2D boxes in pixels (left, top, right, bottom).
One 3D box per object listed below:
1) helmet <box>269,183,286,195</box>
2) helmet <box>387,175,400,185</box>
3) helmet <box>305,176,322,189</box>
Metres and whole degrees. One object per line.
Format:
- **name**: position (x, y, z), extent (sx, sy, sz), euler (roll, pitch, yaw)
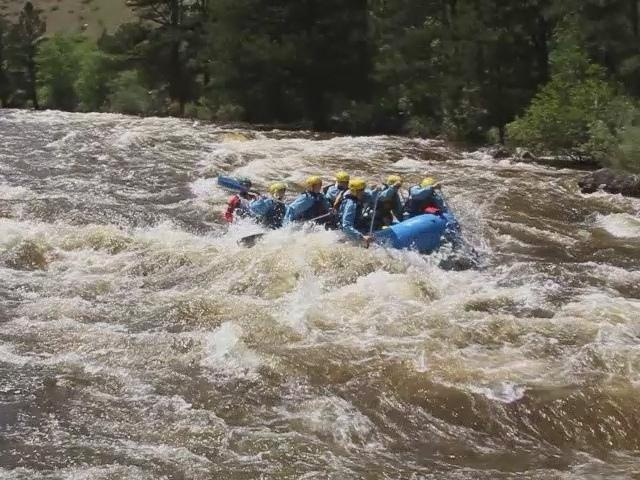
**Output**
- **helmet**: position (-1.108, -1.201, 24.104), extent (0.343, 0.156, 0.404), euler (-17, 1, -34)
- **helmet**: position (1.783, -1.406, 23.645), extent (0.283, 0.167, 0.283), euler (-3, 47, 8)
- **helmet**: position (-0.151, -1.342, 23.531), extent (0.354, 0.273, 0.275), euler (-26, 26, 19)
